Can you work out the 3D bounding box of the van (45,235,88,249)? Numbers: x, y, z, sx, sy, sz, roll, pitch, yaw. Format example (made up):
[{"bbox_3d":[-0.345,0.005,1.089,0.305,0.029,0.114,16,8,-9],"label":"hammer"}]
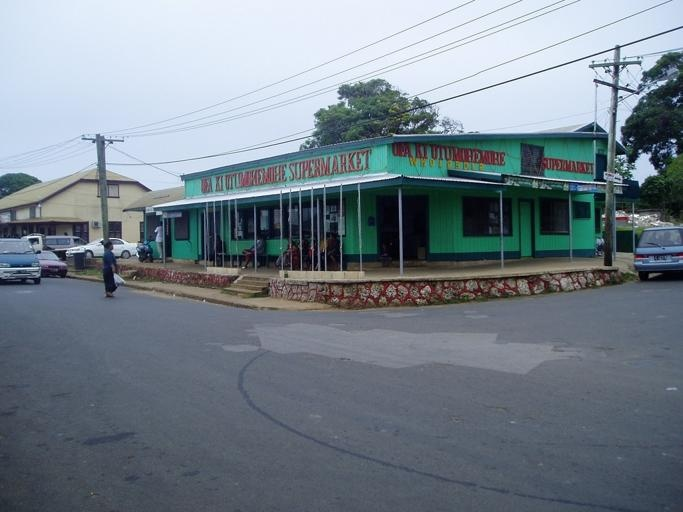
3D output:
[{"bbox_3d":[-18.123,-0.990,40.841,2.076,1.044,1.487,-4,6,-30],"label":"van"}]

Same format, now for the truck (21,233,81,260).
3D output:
[{"bbox_3d":[-16.633,-0.581,35.972,2.775,1.457,1.626,-2,6,-30],"label":"truck"}]

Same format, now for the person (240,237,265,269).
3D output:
[{"bbox_3d":[-3.472,-0.102,24.633,0.814,1.144,3.021,-1,7,-6],"label":"person"}]

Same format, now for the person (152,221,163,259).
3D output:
[{"bbox_3d":[-9.516,-0.774,32.398,0.348,1.927,1.536,-3,7,-21],"label":"person"}]

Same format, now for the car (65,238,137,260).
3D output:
[{"bbox_3d":[-14.057,-0.421,36.314,2.958,1.074,1.327,3,-5,-41],"label":"car"}]
